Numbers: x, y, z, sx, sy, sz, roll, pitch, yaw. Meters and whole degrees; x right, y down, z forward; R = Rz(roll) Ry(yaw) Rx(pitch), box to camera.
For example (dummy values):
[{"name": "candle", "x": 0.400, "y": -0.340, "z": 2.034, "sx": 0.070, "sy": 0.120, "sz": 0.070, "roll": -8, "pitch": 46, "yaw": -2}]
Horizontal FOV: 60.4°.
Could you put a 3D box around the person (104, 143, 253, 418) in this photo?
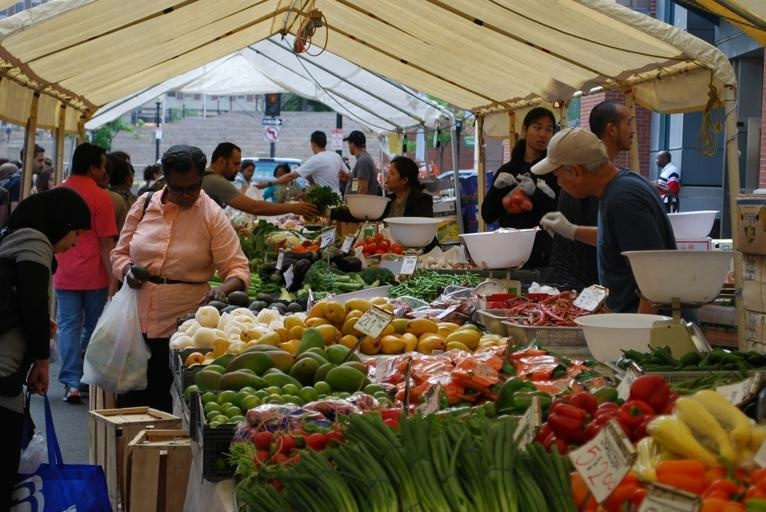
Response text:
[{"name": "person", "x": -1.821, "y": 0.462, "z": 5.720, "sx": 1.178, "sy": 2.757, "sz": 1.008, "roll": 4, "pitch": 7, "yaw": -1}]

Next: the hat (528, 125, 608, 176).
[{"name": "hat", "x": 1.271, "y": -0.748, "z": 4.613, "sx": 0.516, "sy": 0.282, "sz": 0.327, "roll": -2, "pitch": 17, "yaw": 32}]

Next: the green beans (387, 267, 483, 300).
[{"name": "green beans", "x": 0.358, "y": 0.236, "z": 5.554, "sx": 0.372, "sy": 0.193, "sz": 0.384, "roll": -8, "pitch": 4, "yaw": -11}]

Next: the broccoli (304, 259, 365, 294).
[{"name": "broccoli", "x": -0.432, "y": 0.145, "z": 6.150, "sx": 0.612, "sy": 0.333, "sz": 0.526, "roll": -1, "pitch": 16, "yaw": 19}]

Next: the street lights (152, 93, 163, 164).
[{"name": "street lights", "x": -9.161, "y": -4.992, "z": 26.733, "sx": 0.374, "sy": 2.194, "sz": 0.325, "roll": -2, "pitch": 11, "yaw": -30}]

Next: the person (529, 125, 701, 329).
[{"name": "person", "x": 1.531, "y": -0.312, "z": 4.410, "sx": 0.587, "sy": 1.761, "sz": 0.643, "roll": -1, "pitch": 3, "yaw": -20}]
